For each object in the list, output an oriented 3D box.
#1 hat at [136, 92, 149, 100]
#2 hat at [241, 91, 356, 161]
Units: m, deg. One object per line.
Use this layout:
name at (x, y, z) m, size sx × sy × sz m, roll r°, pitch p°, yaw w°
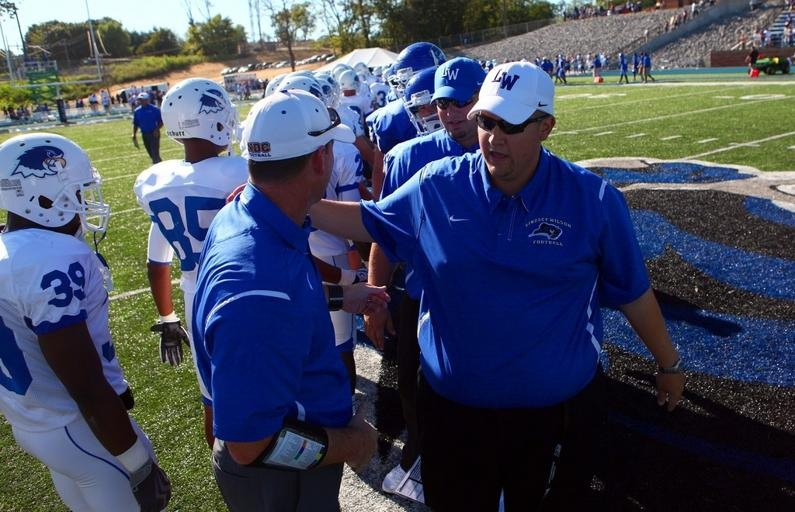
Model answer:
hat at (-5.052, -3.189, 13.158) m, size 0.205 × 0.156 × 0.289 m, roll 2°, pitch 3°, yaw 9°
hat at (-0.501, -0.612, 3.102) m, size 0.297 × 0.222 × 0.426 m, roll 16°, pitch 38°, yaw 24°
